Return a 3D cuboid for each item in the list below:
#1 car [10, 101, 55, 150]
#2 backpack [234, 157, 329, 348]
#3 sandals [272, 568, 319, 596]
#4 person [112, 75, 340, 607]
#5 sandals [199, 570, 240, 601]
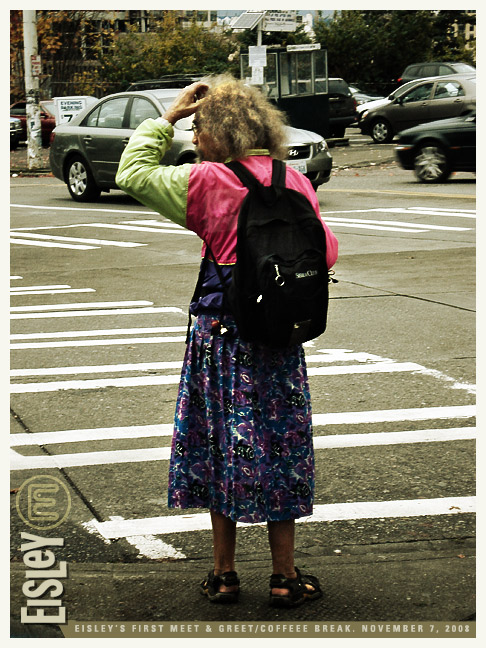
[{"bbox_3d":[-7.139,-6.812,32.512,1.239,1.659,9.010,-4,13,-13],"label":"car"},{"bbox_3d":[0.103,-0.232,3.128,0.351,0.584,0.305,-8,16,-27],"label":"backpack"},{"bbox_3d":[0.182,0.903,3.360,0.089,0.080,0.194,-2,2,34],"label":"sandals"},{"bbox_3d":[-0.042,0.059,3.291,0.636,1.784,0.503,10,18,37],"label":"person"},{"bbox_3d":[-0.075,0.912,3.369,0.073,0.070,0.172,0,2,-13],"label":"sandals"}]
